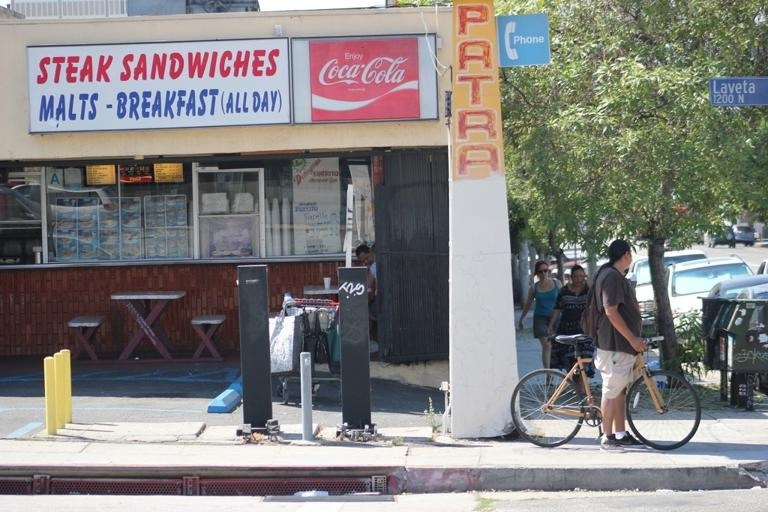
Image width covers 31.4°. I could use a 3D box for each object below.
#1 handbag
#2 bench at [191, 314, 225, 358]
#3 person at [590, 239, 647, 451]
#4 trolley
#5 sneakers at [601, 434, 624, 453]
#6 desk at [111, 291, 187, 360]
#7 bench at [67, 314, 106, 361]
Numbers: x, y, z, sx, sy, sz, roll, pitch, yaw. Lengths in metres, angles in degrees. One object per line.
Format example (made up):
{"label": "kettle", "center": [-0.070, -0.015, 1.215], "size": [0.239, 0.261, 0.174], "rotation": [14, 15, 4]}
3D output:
{"label": "handbag", "center": [-1.380, 1.484, 23.428], "size": [1.315, 1.411, 0.987], "rotation": [-2, 3, -45]}
{"label": "bench", "center": [-3.392, 1.625, 25.755], "size": [0.701, 0.693, 1.093], "rotation": [-2, -7, -9]}
{"label": "person", "center": [3.633, 1.392, 21.250], "size": [0.870, 3.221, 0.530], "rotation": [-2, 5, 7]}
{"label": "trolley", "center": [-1.136, 1.580, 24.493], "size": [1.065, 1.540, 1.228], "rotation": [-6, 10, 41]}
{"label": "sneakers", "center": [3.556, 2.938, 21.174], "size": [0.444, 0.197, 0.161], "rotation": [-2, -3, 31]}
{"label": "desk", "center": [-4.490, 1.358, 25.671], "size": [1.293, 1.175, 1.280], "rotation": [-1, -3, -8]}
{"label": "bench", "center": [-5.621, 1.499, 25.713], "size": [0.761, 0.944, 1.006], "rotation": [1, 2, 3]}
